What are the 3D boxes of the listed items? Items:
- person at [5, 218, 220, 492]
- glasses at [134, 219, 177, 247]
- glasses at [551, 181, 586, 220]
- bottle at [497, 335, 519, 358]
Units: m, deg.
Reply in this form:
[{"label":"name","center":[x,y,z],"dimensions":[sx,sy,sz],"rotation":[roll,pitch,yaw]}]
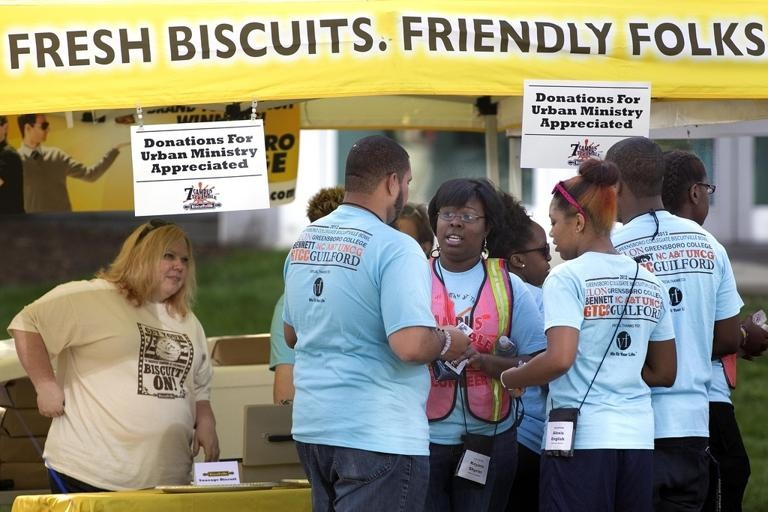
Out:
[{"label":"person","center":[-1.778,0.660,8.403],"dimensions":[0.865,2.414,1.185],"rotation":[-17,-22,36]},{"label":"glasses","center":[-1.389,-0.146,7.769],"dimensions":[0.045,0.160,0.152],"rotation":[21,19,37]},{"label":"glasses","center":[0.996,-0.304,7.047],"dimensions":[0.184,0.069,0.142],"rotation":[43,-8,0]},{"label":"bottle","center":[0.681,0.505,7.244],"dimensions":[0.076,0.058,0.106],"rotation":[18,-35,8]}]
